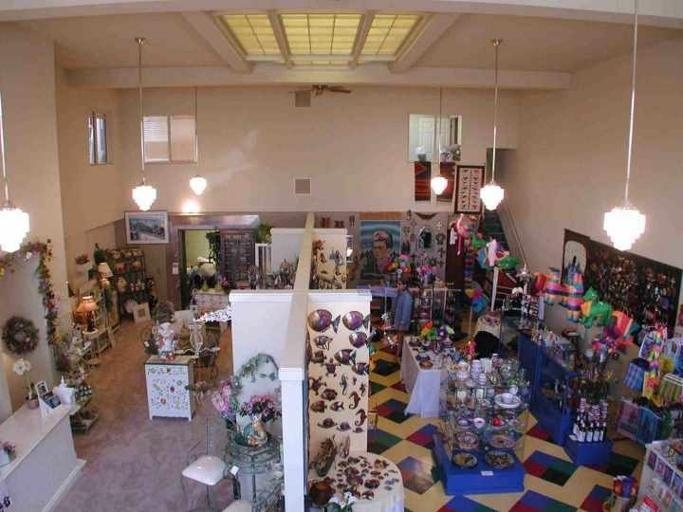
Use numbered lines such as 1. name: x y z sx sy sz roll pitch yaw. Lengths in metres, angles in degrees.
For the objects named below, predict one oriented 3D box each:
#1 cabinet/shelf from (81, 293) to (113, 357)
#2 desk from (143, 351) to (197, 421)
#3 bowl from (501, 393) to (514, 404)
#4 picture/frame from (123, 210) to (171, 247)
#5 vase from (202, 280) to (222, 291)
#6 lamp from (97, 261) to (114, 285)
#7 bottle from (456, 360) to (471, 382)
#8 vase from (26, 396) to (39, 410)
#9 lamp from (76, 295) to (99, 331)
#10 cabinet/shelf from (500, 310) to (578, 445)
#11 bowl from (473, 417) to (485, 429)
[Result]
1. cabinet/shelf: -5.614 1.624 12.202 0.475 1.316 1.242 -4 6 -1
2. desk: -3.246 2.485 10.289 0.872 1.153 0.656 2 13 6
3. bowl: 2.654 2.274 8.497 0.179 0.118 0.170 -1 6 0
4. picture/frame: -5.160 -0.782 14.196 0.833 0.702 0.035 1 6 -5
5. vase: -3.428 0.744 14.144 0.476 0.267 0.863 -3 6 -20
6. lamp: -5.791 0.453 13.095 0.342 0.592 0.903 -4 6 -24
7. bottle: 2.003 1.870 8.702 0.244 0.360 0.252 0 6 0
8. vase: -4.909 2.356 8.477 0.144 0.120 0.148 0 2 -16
9. lamp: -5.766 1.308 12.089 0.428 0.765 0.599 -4 6 -27
10. cabinet/shelf: 3.676 2.317 9.830 0.515 1.049 2.041 1 17 -1
11. bowl: 2.182 2.631 8.402 0.153 0.105 0.156 -2 9 0
